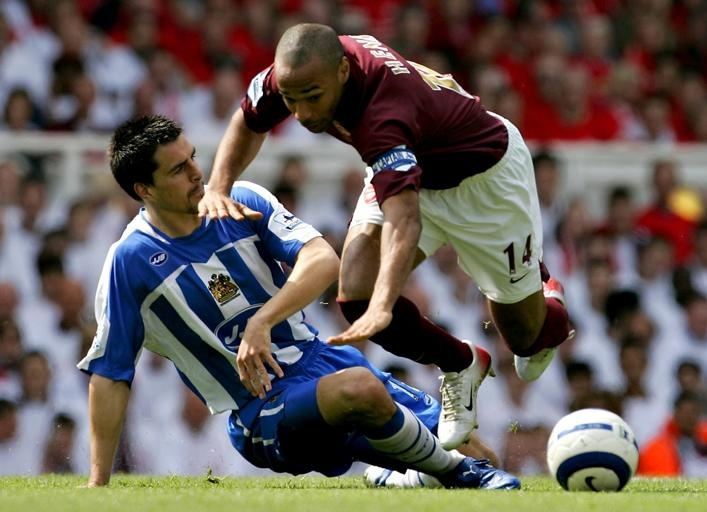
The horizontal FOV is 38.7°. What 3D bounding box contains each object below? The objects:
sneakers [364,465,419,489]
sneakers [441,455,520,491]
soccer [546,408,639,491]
[{"bbox_3d":[0.272,1.469,6.757,0.137,0.177,0.384,12,-5,-42],"label":"sneakers"},{"bbox_3d":[0.821,1.389,6.436,0.493,0.229,0.207,0,-5,6],"label":"sneakers"},{"bbox_3d":[1.535,1.263,6.468,0.533,0.584,0.529,-19,-30,25],"label":"soccer"}]
